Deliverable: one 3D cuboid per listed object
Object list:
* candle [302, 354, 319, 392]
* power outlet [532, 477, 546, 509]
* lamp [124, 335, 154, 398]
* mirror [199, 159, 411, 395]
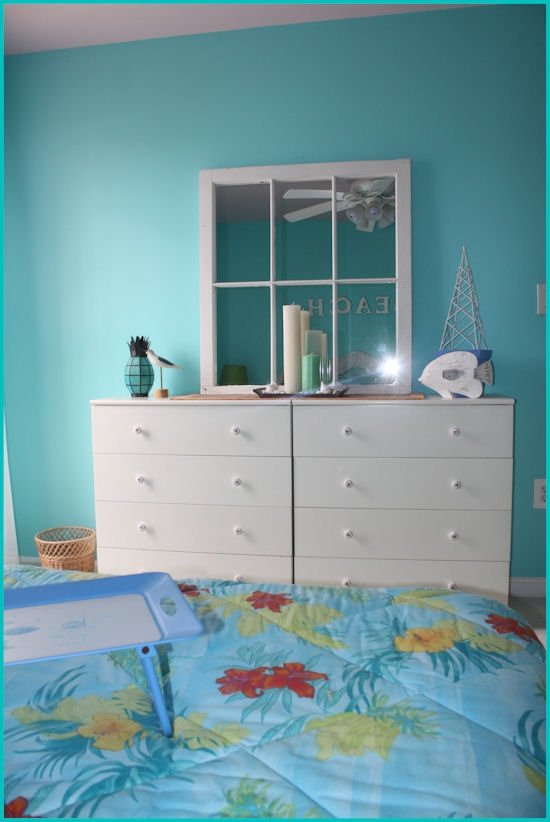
[{"bbox_3d":[0.136,-0.138,2.453,0.064,0.131,0.056,-1,9,2],"label":"candle"},{"bbox_3d":[1.024,0.323,2.576,0.043,0.118,0.026,0,9,8],"label":"power outlet"},{"bbox_3d":[-0.544,-0.168,2.658,0.104,0.249,0.213,-3,9,-12],"label":"lamp"},{"bbox_3d":[0.158,-0.566,2.672,0.961,1.025,0.067,0,2,11],"label":"mirror"}]
